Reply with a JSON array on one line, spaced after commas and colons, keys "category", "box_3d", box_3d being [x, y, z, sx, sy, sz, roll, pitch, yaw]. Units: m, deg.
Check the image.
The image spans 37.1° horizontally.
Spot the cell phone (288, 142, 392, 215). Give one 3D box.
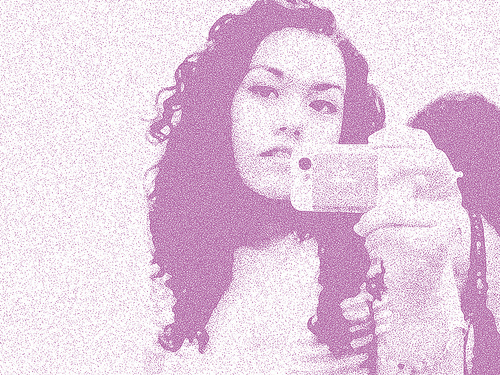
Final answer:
[{"category": "cell phone", "box_3d": [0.225, -0.012, 1.843, 0.239, 0.158, 0.153, -2, -14, 6]}]
